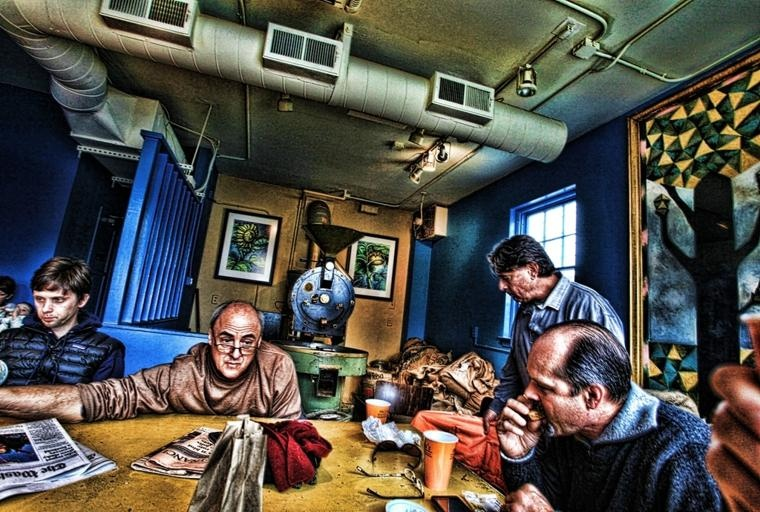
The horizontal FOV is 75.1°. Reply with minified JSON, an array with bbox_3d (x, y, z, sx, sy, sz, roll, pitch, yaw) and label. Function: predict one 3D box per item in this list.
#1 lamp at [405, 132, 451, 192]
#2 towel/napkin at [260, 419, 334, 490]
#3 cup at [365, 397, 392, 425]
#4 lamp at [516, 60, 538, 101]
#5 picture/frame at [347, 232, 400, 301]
[{"bbox_3d":[0.531,-1.057,5.496,0.193,0.262,0.861,6,-11,-13],"label":"lamp"},{"bbox_3d":[-0.405,0.934,2.338,0.338,0.275,0.235,8,-8,-12],"label":"towel/napkin"},{"bbox_3d":[-0.022,0.887,2.832,0.157,0.098,0.139,4,-5,-11],"label":"cup"},{"bbox_3d":[1.171,-1.418,3.985,0.167,0.217,0.151,0,-9,3],"label":"lamp"},{"bbox_3d":[-0.122,0.182,7.135,1.076,1.104,0.081,9,-13,-27],"label":"picture/frame"}]
